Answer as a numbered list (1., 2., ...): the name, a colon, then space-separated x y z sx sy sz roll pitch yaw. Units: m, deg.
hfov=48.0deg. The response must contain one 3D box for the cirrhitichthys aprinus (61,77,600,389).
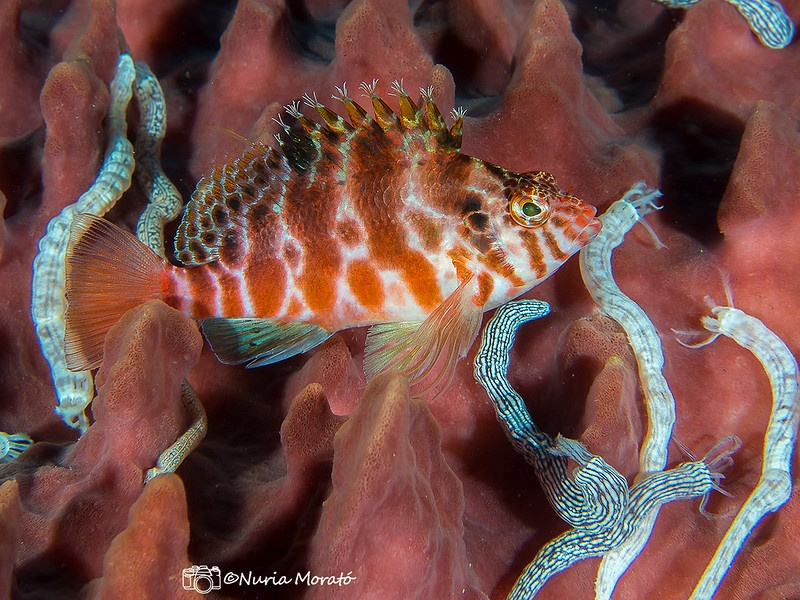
1. cirrhitichthys aprinus: -0.269 -0.236 3.680 2.099 0.778 0.959 4 65 -6

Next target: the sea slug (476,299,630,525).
1. sea slug: 0.595 0.488 3.666 0.361 0.167 0.985 -20 71 -15

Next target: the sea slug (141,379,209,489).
1. sea slug: -0.860 0.538 3.576 0.184 0.055 0.366 28 54 -25

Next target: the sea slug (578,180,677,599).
1. sea slug: 0.977 0.397 3.829 0.394 1.627 0.492 20 32 40

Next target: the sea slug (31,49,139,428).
1. sea slug: -1.366 -0.271 3.906 0.353 0.126 1.607 13 87 -2
